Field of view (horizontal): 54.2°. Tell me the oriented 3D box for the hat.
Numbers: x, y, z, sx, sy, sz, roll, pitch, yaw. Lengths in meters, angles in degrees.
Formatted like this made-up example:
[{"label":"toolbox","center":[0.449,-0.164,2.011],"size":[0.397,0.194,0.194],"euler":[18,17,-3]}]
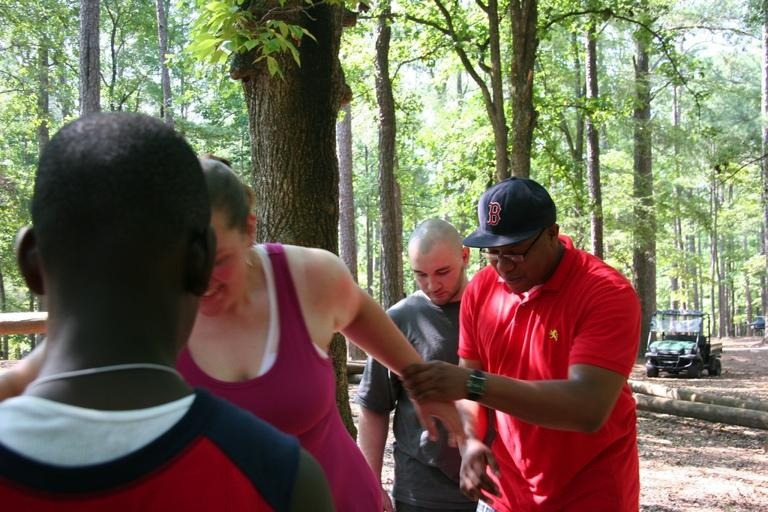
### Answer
[{"label":"hat","center":[0.671,-0.246,4.024],"size":[0.457,0.282,0.338],"euler":[-18,19,-25]}]
